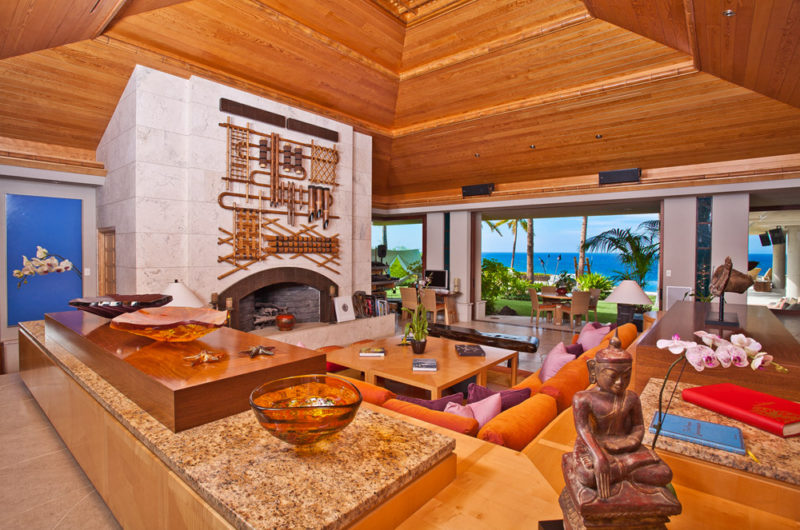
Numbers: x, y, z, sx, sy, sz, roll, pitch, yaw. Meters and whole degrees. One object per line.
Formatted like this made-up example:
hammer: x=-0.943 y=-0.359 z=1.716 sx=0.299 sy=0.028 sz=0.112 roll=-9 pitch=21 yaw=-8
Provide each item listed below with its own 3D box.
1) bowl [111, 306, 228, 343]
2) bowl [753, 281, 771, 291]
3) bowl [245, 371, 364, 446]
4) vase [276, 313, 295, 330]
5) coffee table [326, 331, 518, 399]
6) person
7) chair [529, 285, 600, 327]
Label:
bowl: x=-1.669 y=0.401 z=3.174 sx=0.505 sy=0.117 sz=0.461 roll=5 pitch=3 yaw=0
bowl: x=9.174 y=0.551 z=12.147 sx=0.319 sy=0.287 sz=0.569 roll=-1 pitch=1 yaw=31
bowl: x=-0.509 y=0.776 z=2.530 sx=0.576 sy=0.196 sz=0.534 roll=1 pitch=7 yaw=0
vase: x=-1.687 y=0.827 z=7.002 sx=0.306 sy=0.278 sz=0.266 roll=0 pitch=-1 yaw=0
coffee table: x=0.432 y=1.227 z=5.756 sx=1.684 sy=0.267 sz=1.516 roll=3 pitch=13 yaw=35
person: x=1.083 y=0.732 z=2.391 sx=0.459 sy=0.740 sz=0.165 roll=-2 pitch=2 yaw=-6
chair: x=3.604 y=0.934 z=10.581 sx=1.242 sy=0.618 sz=1.168 roll=1 pitch=-2 yaw=-33
